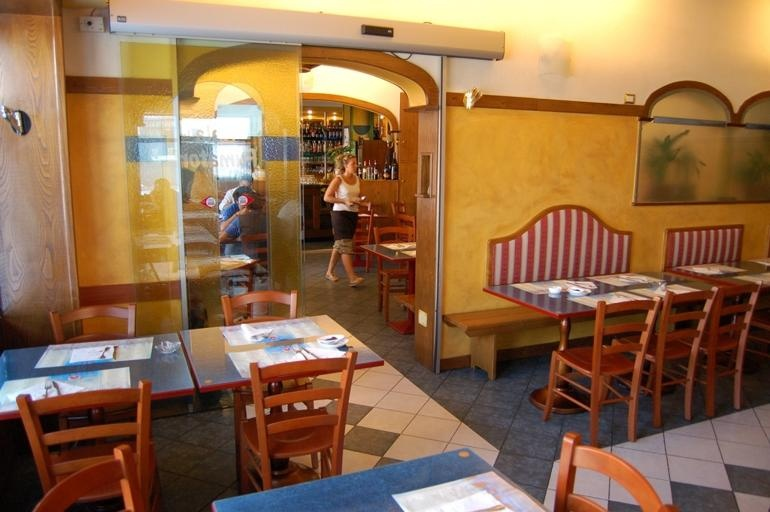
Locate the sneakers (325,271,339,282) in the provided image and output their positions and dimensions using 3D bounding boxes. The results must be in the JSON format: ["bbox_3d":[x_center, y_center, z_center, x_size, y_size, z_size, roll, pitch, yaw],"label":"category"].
[{"bbox_3d":[-0.838,0.333,9.238,0.297,0.178,0.104,7,10,34],"label":"sneakers"}]

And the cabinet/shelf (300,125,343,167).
[{"bbox_3d":[-1.399,-2.902,14.349,1.610,1.299,0.516,8,14,31],"label":"cabinet/shelf"}]

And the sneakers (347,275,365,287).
[{"bbox_3d":[-0.471,0.405,8.878,0.112,0.124,0.300,-37,2,-31],"label":"sneakers"}]
